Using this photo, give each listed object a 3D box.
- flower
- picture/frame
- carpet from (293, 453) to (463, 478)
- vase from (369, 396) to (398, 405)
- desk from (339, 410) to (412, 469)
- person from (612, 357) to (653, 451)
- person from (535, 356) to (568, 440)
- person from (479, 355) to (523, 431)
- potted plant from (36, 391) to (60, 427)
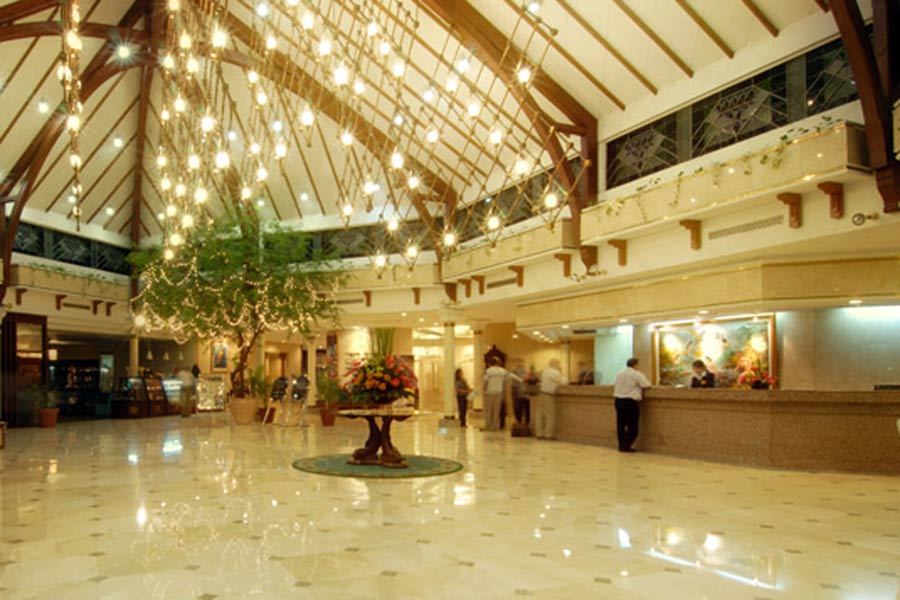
[{"bbox_3d":[-1.203,1.170,12.225,1.018,1.077,0.999,4,11,35],"label":"flower"},{"bbox_3d":[6.245,1.157,14.984,0.130,1.619,3.442,4,-6,-38],"label":"picture/frame"},{"bbox_3d":[-1.317,3.037,11.966,3.082,0.242,2.089,-1,-10,6],"label":"carpet"},{"bbox_3d":[-1.225,1.817,11.797,0.467,0.188,0.066,1,-9,-11],"label":"vase"},{"bbox_3d":[-1.284,2.637,12.420,1.641,1.115,1.603,-2,-7,16],"label":"desk"},{"bbox_3d":[3.942,2.252,14.027,0.675,1.955,0.601,-3,-9,14],"label":"person"},{"bbox_3d":[2.587,2.491,16.373,0.738,2.028,0.757,1,-5,33],"label":"person"},{"bbox_3d":[1.403,2.662,18.240,0.914,2.349,0.899,0,-2,-8],"label":"person"},{"bbox_3d":[-13.035,3.422,20.551,0.950,1.265,1.024,3,-7,-25],"label":"potted plant"}]
